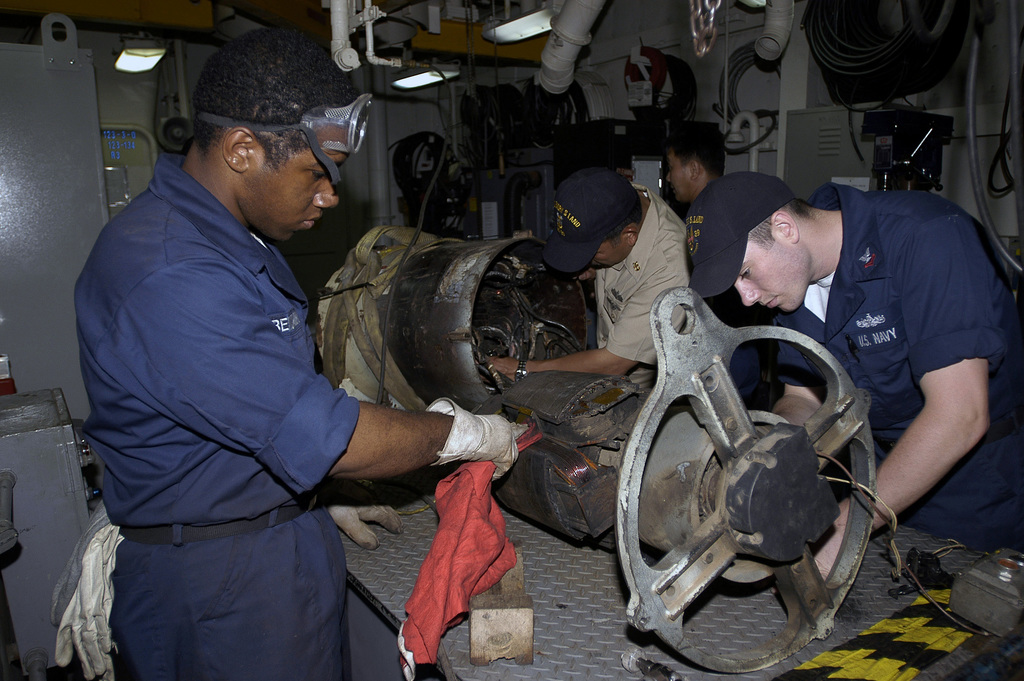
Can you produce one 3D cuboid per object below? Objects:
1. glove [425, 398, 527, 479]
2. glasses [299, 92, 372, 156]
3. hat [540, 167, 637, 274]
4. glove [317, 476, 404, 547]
[{"bbox_3d":[-0.109,0.339,2.573,0.290,0.245,0.122,12,15,-45],"label":"glove"},{"bbox_3d":[-0.513,-0.636,2.245,0.188,0.107,0.142,8,23,18],"label":"glasses"},{"bbox_3d":[0.372,-0.557,3.585,0.446,0.503,0.244,-5,11,-30],"label":"hat"},{"bbox_3d":[-0.605,0.670,2.971,0.303,0.115,0.191,37,49,13],"label":"glove"}]
